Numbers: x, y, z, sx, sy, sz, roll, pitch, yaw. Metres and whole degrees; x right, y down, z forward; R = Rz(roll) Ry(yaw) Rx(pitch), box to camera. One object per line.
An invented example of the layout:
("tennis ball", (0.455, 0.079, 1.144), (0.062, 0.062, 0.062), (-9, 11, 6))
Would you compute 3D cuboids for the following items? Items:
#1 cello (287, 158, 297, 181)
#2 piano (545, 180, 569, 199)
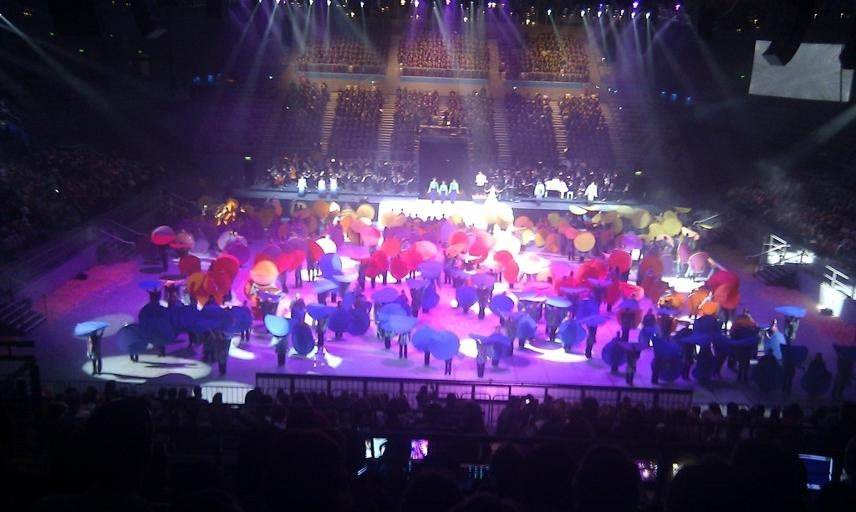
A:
("cello", (-7.888, -4.958, 38.674), (0.461, 0.408, 1.518), (12, 49, -19))
("piano", (7.450, -3.925, 38.300), (1.389, 1.034, 1.300), (0, 93, 2))
